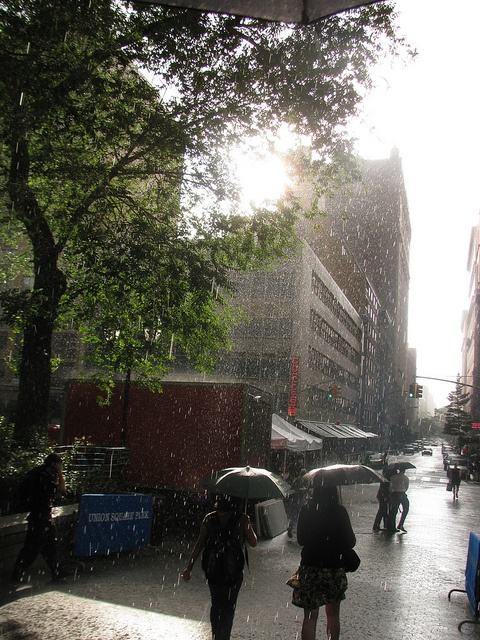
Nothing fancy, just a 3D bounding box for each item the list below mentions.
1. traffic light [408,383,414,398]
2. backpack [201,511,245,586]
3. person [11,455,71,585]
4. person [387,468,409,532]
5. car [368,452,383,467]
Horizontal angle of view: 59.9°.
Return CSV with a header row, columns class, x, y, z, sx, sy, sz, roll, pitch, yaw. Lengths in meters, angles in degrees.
class,x,y,z,sx,sy,sz,roll,pitch,yaw
traffic light,13.108,5.489,32.057,0.831,1.092,0.406,10,-9,-37
backpack,-0.099,1.985,3.623,0.388,0.843,0.439,1,-26,2
person,-2.772,2.839,5.904,0.569,1.756,0.488,5,-7,-21
person,4.981,5.865,13.321,0.548,1.804,1.624,0,-9,23
car,14.442,15.390,45.060,0.997,1.123,2.652,-1,-4,18
